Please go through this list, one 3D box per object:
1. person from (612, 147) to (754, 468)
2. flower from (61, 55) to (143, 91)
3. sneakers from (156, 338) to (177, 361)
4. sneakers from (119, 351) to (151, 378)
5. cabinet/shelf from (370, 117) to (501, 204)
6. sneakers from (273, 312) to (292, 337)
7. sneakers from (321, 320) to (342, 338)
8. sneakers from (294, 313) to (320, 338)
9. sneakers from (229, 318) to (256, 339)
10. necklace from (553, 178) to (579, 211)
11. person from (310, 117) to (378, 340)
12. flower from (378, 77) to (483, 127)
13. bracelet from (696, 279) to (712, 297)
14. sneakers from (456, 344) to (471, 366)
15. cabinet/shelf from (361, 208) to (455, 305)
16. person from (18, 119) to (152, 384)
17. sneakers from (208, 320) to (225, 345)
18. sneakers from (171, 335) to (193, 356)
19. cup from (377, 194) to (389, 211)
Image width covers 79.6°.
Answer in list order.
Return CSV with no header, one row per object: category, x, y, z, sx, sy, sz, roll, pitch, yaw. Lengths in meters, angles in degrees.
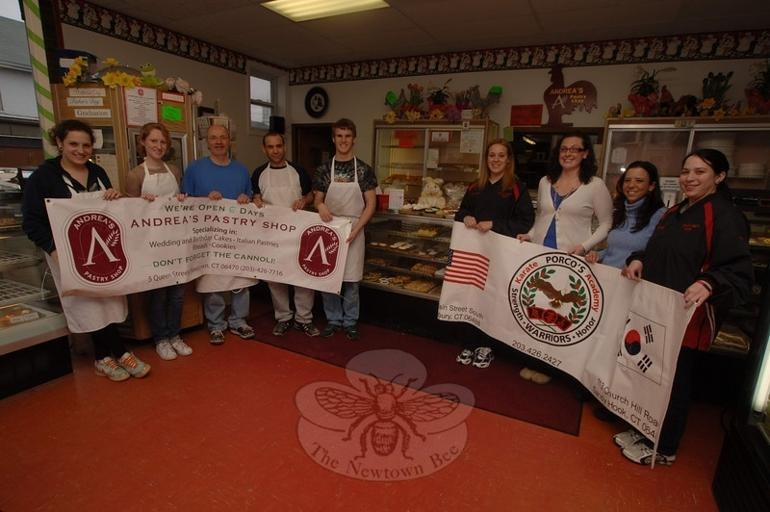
person,2.253,0.423,3.550,0.688,2.423,0.659,-2,17,-13
flower,-2.760,-1.803,4.552,0.682,0.279,0.395,5,17,9
sneakers,-2.169,0.940,4.586,0.286,0.111,0.113,9,11,43
sneakers,-2.326,1.007,4.331,0.384,0.149,0.142,18,19,30
cabinet/shelf,0.765,-1.445,6.778,1.923,1.721,0.622,2,2,18
sneakers,-1.136,0.781,5.070,0.111,0.114,0.274,1,1,1
sneakers,-0.589,0.811,5.062,0.096,0.112,0.242,-5,-8,26
sneakers,-0.857,0.765,5.152,0.348,0.152,0.147,25,19,23
sneakers,-1.524,0.792,4.985,0.318,0.133,0.147,4,2,32
necklace,1.642,-0.554,4.185,0.249,0.243,0.077,20,-2,34
person,-0.435,-0.257,4.884,0.661,2.290,0.548,2,17,-2
flower,0.915,-2.491,7.442,1.832,0.709,0.757,6,17,12
bracelet,2.240,0.227,3.279,0.085,0.038,0.097,-17,67,-47
sneakers,0.801,1.046,4.726,0.106,0.170,0.051,19,55,-10
cabinet/shelf,0.277,-0.005,5.129,1.026,0.820,0.354,8,-6,18
person,-2.632,-0.025,4.136,0.810,2.290,0.556,2,17,-1
sneakers,-1.739,0.800,4.796,0.119,0.133,0.321,1,-2,-20
sneakers,-2.003,0.912,4.647,0.303,0.124,0.116,19,19,27
cup,-0.023,-0.607,5.210,0.164,0.172,0.174,2,1,0
